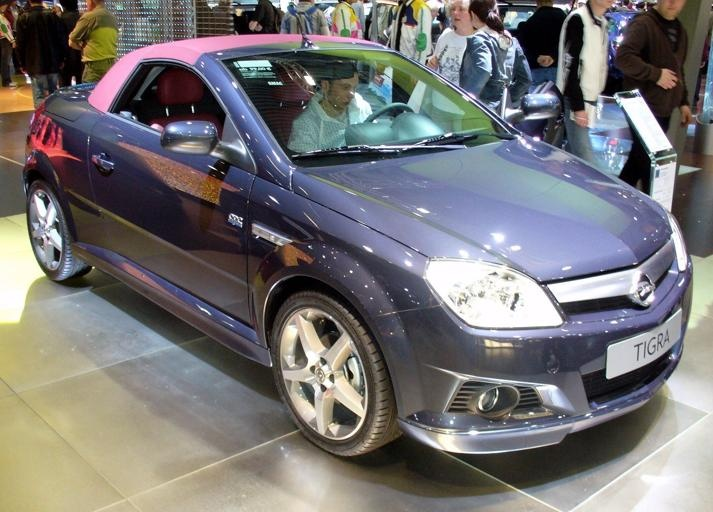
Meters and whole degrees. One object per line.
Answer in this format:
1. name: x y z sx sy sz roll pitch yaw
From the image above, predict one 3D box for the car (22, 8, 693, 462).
1. car: -0.270 -0.118 3.027 3.515 1.557 2.040 27 34 36
